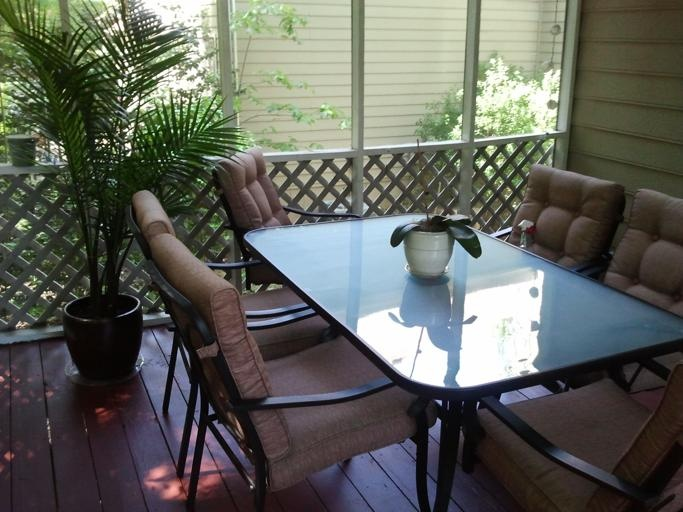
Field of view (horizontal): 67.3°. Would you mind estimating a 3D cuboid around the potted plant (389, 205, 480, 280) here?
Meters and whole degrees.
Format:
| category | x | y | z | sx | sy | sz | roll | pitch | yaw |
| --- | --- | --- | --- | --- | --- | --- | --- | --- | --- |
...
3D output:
| category | x | y | z | sx | sy | sz | roll | pitch | yaw |
| --- | --- | --- | --- | --- | --- | --- | --- | --- | --- |
| potted plant | 0.363 | -0.047 | 1.962 | 0.257 | 0.198 | 0.266 | -7 | 19 | -15 |
